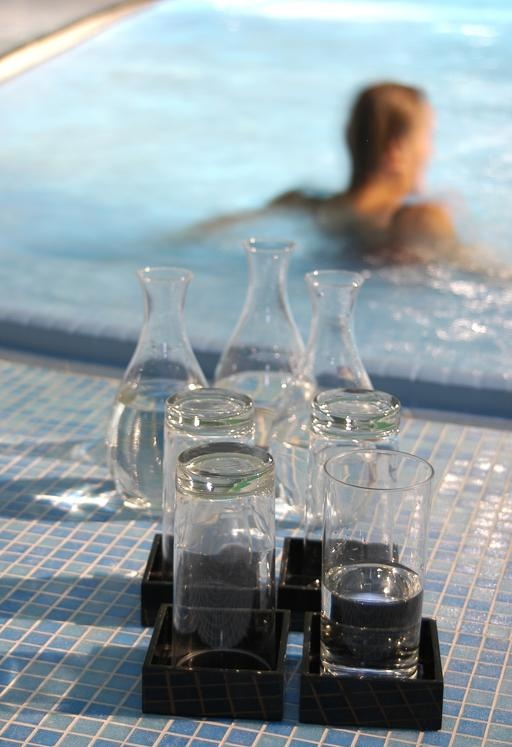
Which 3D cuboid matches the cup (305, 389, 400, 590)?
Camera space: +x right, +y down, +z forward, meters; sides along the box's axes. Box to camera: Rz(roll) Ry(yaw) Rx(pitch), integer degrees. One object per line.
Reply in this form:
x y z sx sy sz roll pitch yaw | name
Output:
0.060 0.066 0.467 0.050 0.104 0.043 -2 21 4 | cup

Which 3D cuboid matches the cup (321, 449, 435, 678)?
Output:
0.055 0.088 0.368 0.050 0.095 0.068 1 16 12 | cup

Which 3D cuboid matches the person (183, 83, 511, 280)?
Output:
0.246 -0.371 1.656 0.869 0.321 0.254 16 47 21 | person

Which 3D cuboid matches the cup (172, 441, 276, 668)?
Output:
-0.015 0.084 0.361 0.051 0.099 0.046 -3 17 1 | cup
